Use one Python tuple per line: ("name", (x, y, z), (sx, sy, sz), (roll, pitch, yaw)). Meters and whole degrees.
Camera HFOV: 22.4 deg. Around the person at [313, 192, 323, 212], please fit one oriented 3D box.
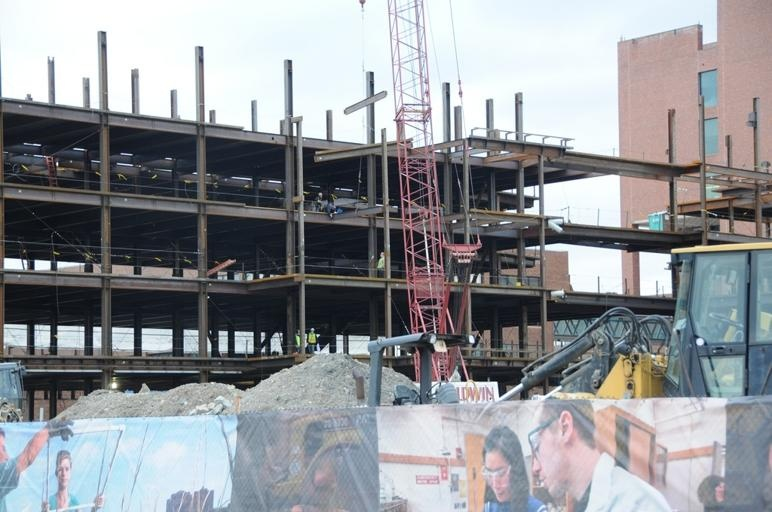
("person", (-5.090, -3.785, 147.134), (1.430, 1.232, 0.335), (2, 0, 44))
